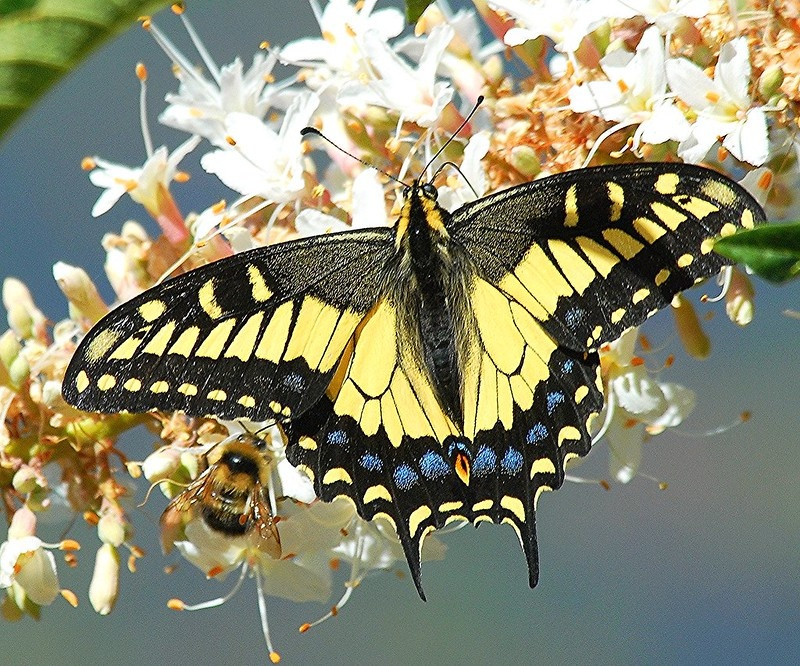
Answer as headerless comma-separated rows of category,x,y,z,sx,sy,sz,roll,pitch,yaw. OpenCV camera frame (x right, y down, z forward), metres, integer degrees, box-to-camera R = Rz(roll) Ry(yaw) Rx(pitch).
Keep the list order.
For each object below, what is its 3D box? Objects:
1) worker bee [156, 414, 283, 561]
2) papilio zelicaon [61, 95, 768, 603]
worker bee,-0.262,0.261,1.678,0.142,0.063,0.208,16,55,10
papilio zelicaon,0.076,0.060,1.640,1.107,0.118,0.749,-14,106,-7
